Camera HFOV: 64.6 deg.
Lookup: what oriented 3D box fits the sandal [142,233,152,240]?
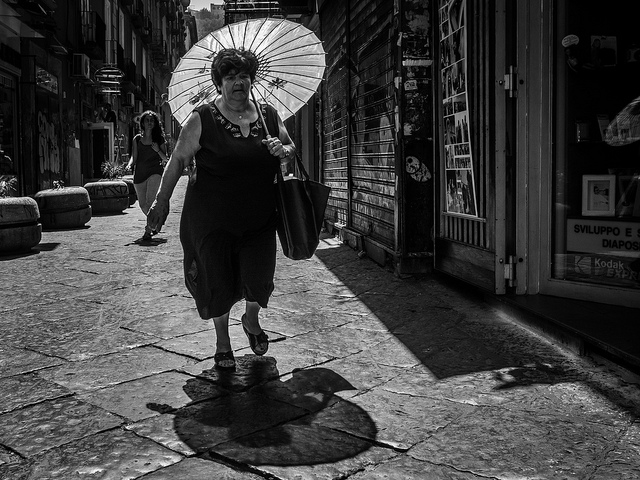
[{"bbox_3d":[-2.745,-0.064,8.192,0.115,0.118,0.117,-3,9,-21],"label":"sandal"}]

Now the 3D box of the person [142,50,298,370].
[{"bbox_3d":[-0.551,-0.184,3.167,0.840,2.016,0.348,-2,8,-13],"label":"person"}]

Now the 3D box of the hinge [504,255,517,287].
[{"bbox_3d":[1.549,0.254,4.154,0.109,0.263,0.022,-1,8,-8],"label":"hinge"}]

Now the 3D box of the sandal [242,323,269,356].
[{"bbox_3d":[-0.410,0.688,3.402,0.090,0.246,0.063,-1,-29,-42],"label":"sandal"}]

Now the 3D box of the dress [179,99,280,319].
[{"bbox_3d":[-0.507,-0.241,3.314,0.662,1.902,0.570,-7,16,-24],"label":"dress"}]

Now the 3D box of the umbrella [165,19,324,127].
[{"bbox_3d":[-0.435,-1.335,3.758,0.858,0.972,0.344,-25,64,-31],"label":"umbrella"}]

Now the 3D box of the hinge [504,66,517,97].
[{"bbox_3d":[1.515,-1.289,4.059,0.100,0.244,0.034,-2,8,-13],"label":"hinge"}]
